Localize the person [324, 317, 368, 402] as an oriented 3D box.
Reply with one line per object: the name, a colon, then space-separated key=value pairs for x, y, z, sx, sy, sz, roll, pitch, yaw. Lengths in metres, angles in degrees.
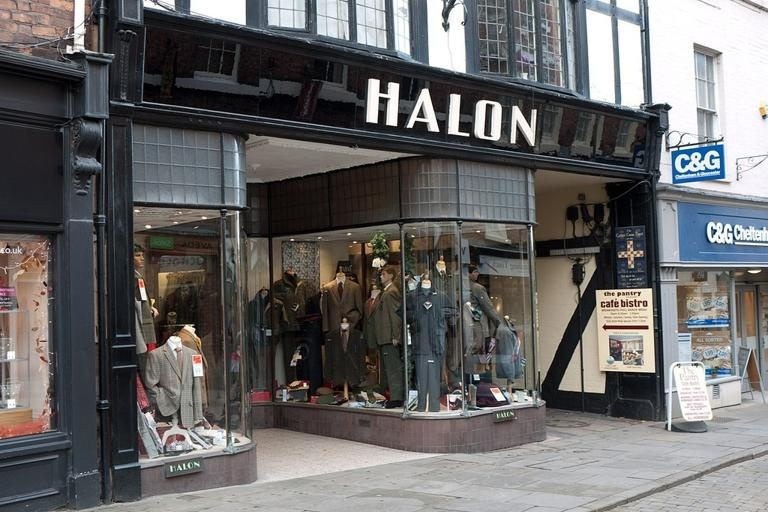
person: x=-0.661 y=1.784 z=12.693 sx=0.905 sy=1.454 sz=0.237 roll=0 pitch=0 yaw=39

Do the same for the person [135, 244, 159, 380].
person: x=-3.161 y=0.706 z=9.763 sx=0.144 sy=1.748 sz=0.334 roll=0 pitch=0 yaw=39

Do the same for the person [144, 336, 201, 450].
person: x=-2.819 y=1.787 z=9.856 sx=0.765 sy=1.457 sz=0.202 roll=0 pitch=0 yaw=-36

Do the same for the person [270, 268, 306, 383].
person: x=-1.762 y=1.272 z=13.354 sx=0.681 sy=2.116 sz=0.189 roll=0 pitch=0 yaw=30

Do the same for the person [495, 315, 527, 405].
person: x=2.119 y=1.712 z=12.427 sx=0.601 sy=1.413 sz=0.192 roll=0 pitch=0 yaw=-40
